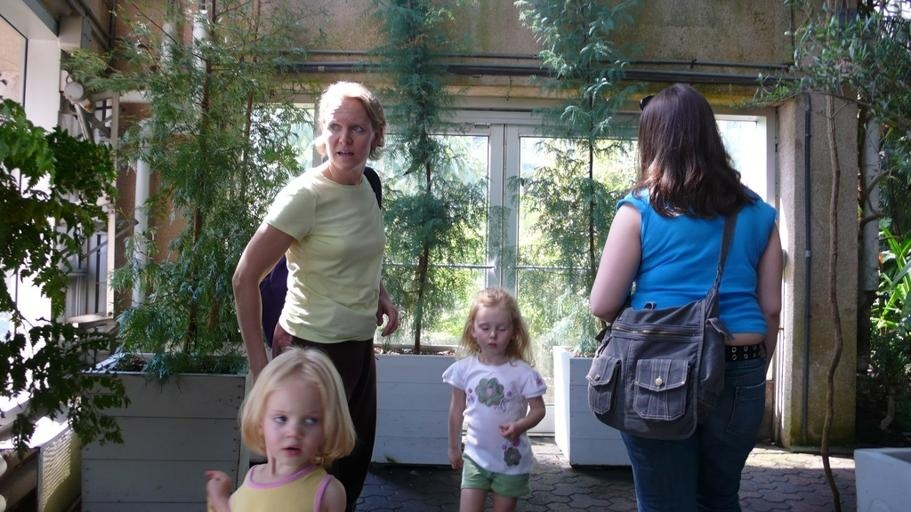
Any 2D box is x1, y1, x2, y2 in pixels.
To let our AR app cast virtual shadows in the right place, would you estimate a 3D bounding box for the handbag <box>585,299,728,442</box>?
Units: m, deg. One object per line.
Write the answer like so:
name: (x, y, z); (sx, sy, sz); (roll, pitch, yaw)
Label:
handbag: (1.269, 0.698, 5.415); (0.904, 1.002, 0.546); (-3, -10, 40)
